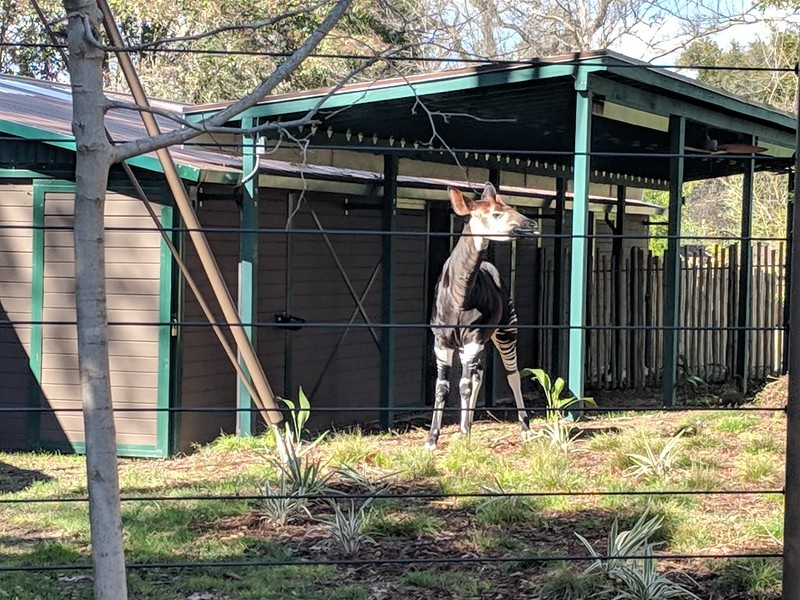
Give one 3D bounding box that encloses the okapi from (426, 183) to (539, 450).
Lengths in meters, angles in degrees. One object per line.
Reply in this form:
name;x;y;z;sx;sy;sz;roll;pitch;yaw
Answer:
okapi;0.960;0.242;16.042;1.345;2.905;4.464;-1;-2;3
